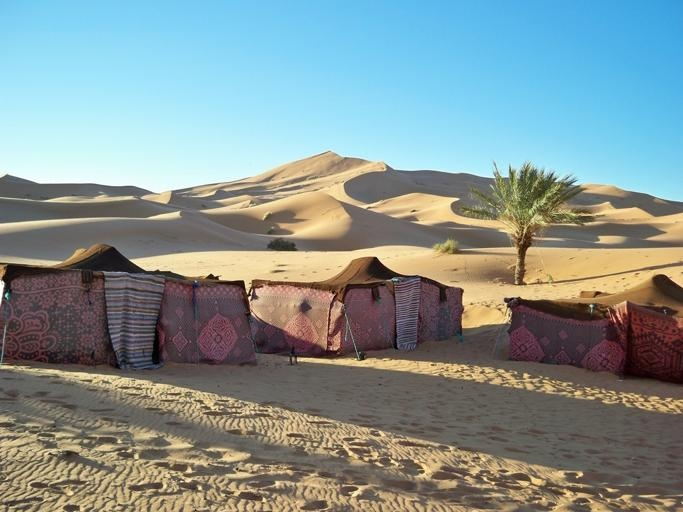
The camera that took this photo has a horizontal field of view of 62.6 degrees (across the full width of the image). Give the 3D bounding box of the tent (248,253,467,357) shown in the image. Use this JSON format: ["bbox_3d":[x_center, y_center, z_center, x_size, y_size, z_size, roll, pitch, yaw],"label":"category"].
[{"bbox_3d":[0.621,1.260,14.776,5.375,1.417,3.137,0,1,-37],"label":"tent"}]
